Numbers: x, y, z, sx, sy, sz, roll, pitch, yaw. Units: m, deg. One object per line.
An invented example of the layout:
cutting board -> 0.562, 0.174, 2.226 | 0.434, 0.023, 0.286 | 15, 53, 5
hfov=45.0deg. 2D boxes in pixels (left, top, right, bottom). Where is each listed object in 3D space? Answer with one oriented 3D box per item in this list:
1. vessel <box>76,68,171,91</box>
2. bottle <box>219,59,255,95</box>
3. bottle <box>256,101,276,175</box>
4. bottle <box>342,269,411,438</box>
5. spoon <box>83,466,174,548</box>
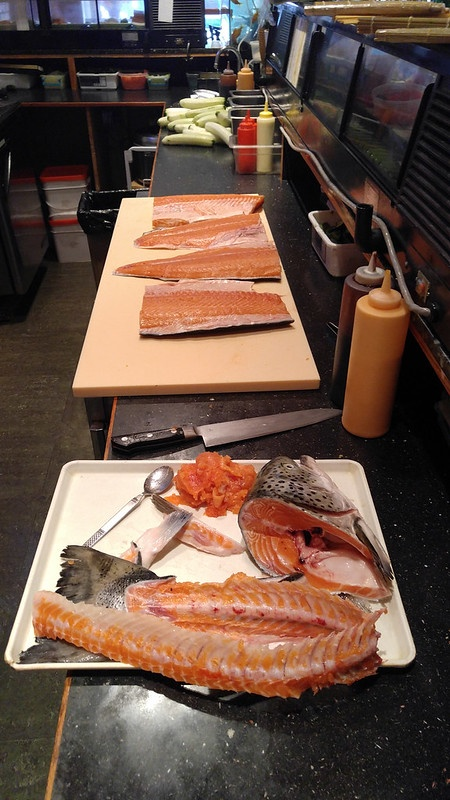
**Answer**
vessel -> -0.864, -2.708, 4.614 | 0.756, 0.148, 0.268 | -5, 41, -13
bottle -> 0.080, -2.176, 3.667 | 0.174, 0.203, 0.447 | -3, 41, -9
bottle -> 0.193, -1.253, 2.615 | 0.092, 0.313, 0.170 | 5, 38, 1
bottle -> 0.277, -0.067, 1.010 | 0.110, 0.362, 0.080 | 19, 39, 19
spoon -> -0.146, 0.168, 0.929 | 0.050, 0.026, 0.250 | 26, 47, 19
